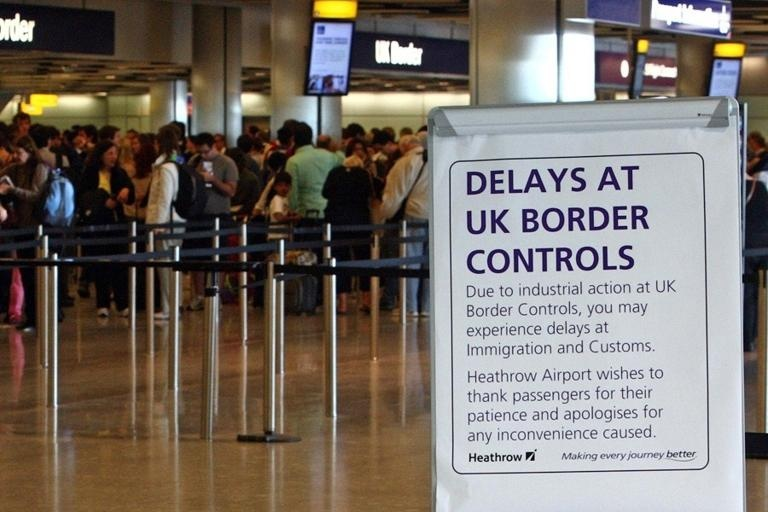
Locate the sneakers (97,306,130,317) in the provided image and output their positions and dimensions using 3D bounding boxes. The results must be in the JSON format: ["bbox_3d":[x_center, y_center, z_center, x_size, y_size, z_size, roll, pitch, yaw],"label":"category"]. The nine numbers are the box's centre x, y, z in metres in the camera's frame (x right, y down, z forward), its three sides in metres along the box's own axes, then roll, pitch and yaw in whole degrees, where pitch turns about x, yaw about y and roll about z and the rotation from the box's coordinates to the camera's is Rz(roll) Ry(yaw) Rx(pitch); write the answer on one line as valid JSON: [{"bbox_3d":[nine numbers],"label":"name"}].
[{"bbox_3d":[-2.839,0.596,14.472,0.410,0.119,0.159,1,7,-3],"label":"sneakers"}]

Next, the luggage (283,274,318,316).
[{"bbox_3d":[-0.864,0.400,14.236,0.283,0.427,0.514,0,1,13],"label":"luggage"}]

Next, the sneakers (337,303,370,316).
[{"bbox_3d":[-0.298,0.600,15.006,0.463,0.173,0.136,-3,1,7],"label":"sneakers"}]
